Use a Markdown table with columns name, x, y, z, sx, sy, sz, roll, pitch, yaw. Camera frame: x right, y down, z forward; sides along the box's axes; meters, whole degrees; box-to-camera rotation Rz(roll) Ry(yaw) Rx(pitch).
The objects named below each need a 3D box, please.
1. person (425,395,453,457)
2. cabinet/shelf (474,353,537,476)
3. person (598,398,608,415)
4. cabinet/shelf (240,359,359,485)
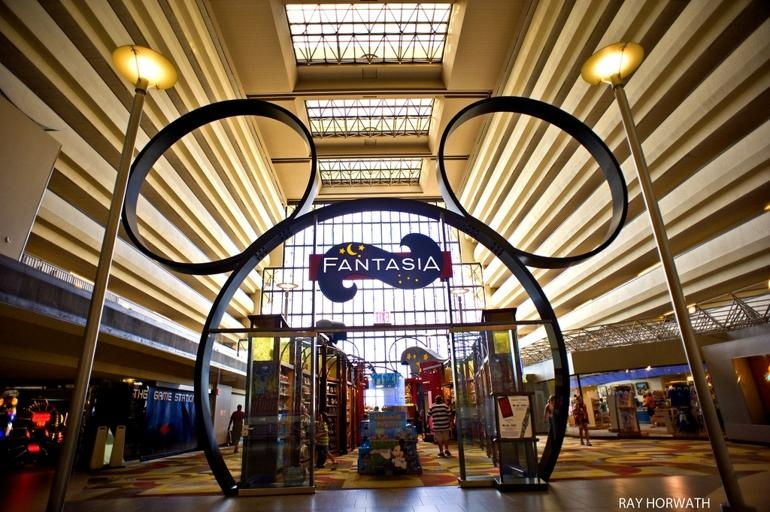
| name | x | y | z | sx | sy | sz | roll | pitch | yaw |
| --- | --- | --- | --- | --- | --- | --- | --- | --- | --- |
| person | 1.668 | 5.151 | 13.308 | 0.558 | 1.683 | 1.389 | -6 | -24 | 5 |
| cabinet/shelf | 2.752 | 3.600 | 10.078 | 1.040 | 2.604 | 2.202 | -8 | -24 | 10 |
| person | 11.171 | 7.654 | 22.608 | 0.350 | 0.730 | 1.341 | -14 | -26 | 22 |
| cabinet/shelf | -2.127 | 4.191 | 11.015 | 1.287 | 3.211 | 3.587 | -6 | -31 | 6 |
